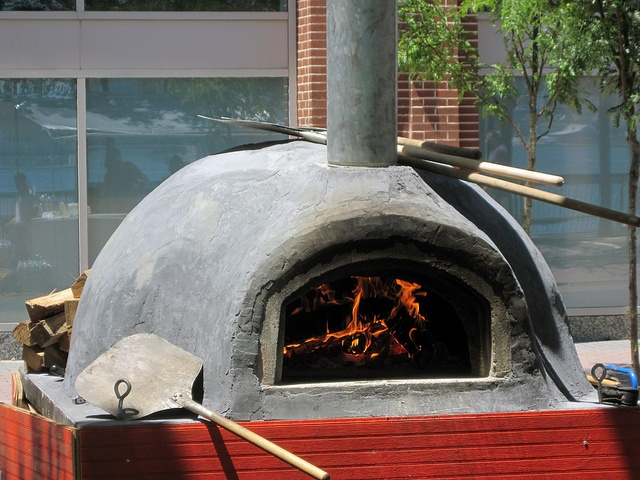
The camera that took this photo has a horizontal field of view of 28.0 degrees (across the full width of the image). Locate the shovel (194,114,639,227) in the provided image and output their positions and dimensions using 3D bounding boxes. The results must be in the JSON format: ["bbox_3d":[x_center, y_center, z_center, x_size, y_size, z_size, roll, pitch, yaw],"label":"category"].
[{"bbox_3d":[0.766,-0.667,11.727,3.425,0.258,0.525,17,23,24],"label":"shovel"}]

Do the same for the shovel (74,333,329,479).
[{"bbox_3d":[-0.890,1.270,9.649,2.122,0.088,0.848,25,55,24],"label":"shovel"}]

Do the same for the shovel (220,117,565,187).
[{"bbox_3d":[0.529,-0.808,11.601,2.213,0.178,0.642,15,7,30],"label":"shovel"}]
